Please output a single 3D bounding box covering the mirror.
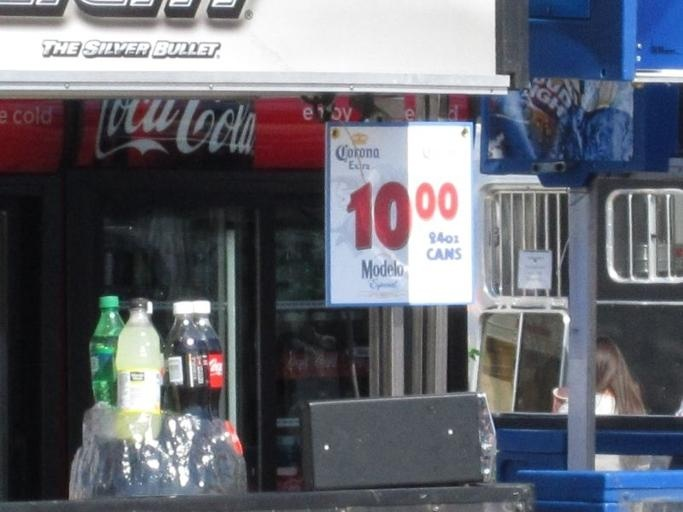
[{"bbox_3d":[1.096,0.646,9.765,0.550,0.683,0.031,1,21,0],"label":"mirror"}]
